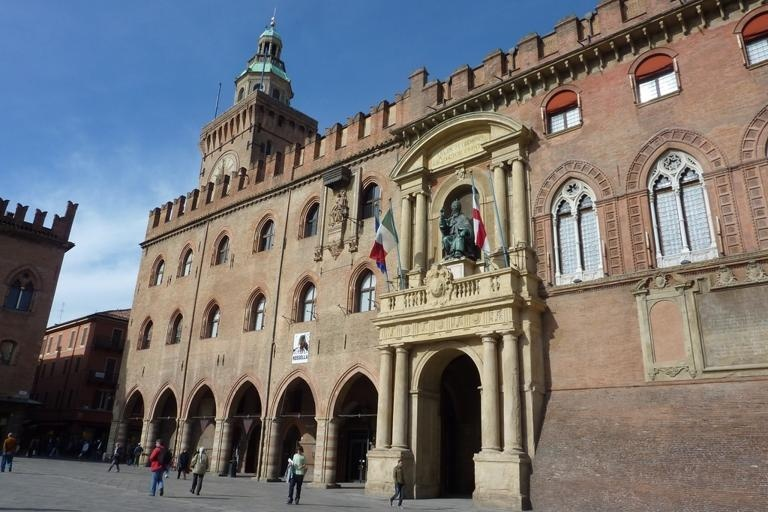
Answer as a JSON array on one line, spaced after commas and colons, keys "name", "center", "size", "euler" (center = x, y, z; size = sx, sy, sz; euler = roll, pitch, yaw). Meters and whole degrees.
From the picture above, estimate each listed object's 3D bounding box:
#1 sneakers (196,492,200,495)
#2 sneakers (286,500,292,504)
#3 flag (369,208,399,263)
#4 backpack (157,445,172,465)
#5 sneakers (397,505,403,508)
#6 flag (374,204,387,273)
[{"name": "sneakers", "center": [-6.305, 8.000, 18.674], "size": [0.099, 0.043, 0.263], "euler": [8, -23, -17]}, {"name": "sneakers", "center": [-3.021, 7.768, 17.564], "size": [0.193, 0.142, 0.567], "euler": [5, -22, -10]}, {"name": "flag", "center": [-0.005, -0.823, 23.667], "size": [0.273, 2.465, 1.857], "euler": [-3, 17, 44]}, {"name": "backpack", "center": [-7.227, 6.631, 18.286], "size": [0.324, 0.603, 0.905], "euler": [3, -22, -6]}, {"name": "sneakers", "center": [0.495, 7.946, 17.559], "size": [0.058, 0.073, 0.168], "euler": [12, -22, -39]}, {"name": "flag", "center": [-0.285, -0.685, 22.833], "size": [0.651, 2.940, 0.295], "euler": [15, -38, -21]}]
